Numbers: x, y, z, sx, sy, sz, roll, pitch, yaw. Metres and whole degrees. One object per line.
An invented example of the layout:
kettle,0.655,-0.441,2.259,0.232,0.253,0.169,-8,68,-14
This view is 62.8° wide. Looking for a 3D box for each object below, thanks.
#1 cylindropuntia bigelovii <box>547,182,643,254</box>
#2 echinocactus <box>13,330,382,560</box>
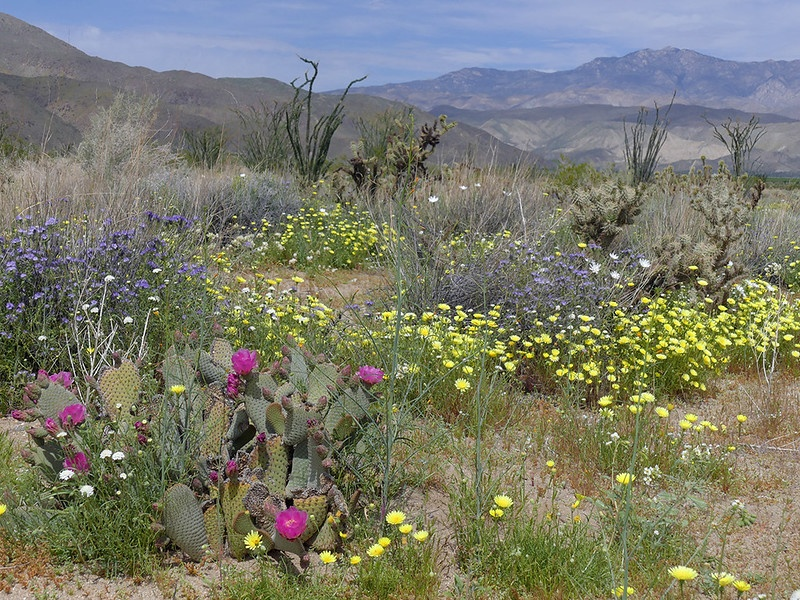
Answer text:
cylindropuntia bigelovii,2.480,-1.107,8.113,0.674,1.023,0.728,-8,8,-21
echinocactus,-1.152,0.825,3.723,1.482,1.593,1.248,-2,6,-29
